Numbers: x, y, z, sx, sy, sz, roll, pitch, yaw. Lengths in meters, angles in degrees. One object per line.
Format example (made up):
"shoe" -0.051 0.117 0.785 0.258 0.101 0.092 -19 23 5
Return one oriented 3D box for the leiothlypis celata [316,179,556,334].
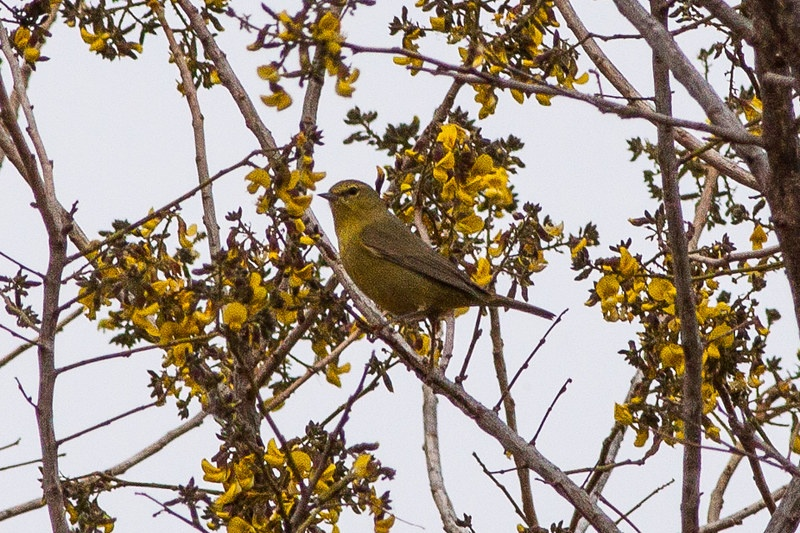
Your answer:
"leiothlypis celata" 0.415 -0.082 10.421 1.956 0.655 1.266 4 -88 17
